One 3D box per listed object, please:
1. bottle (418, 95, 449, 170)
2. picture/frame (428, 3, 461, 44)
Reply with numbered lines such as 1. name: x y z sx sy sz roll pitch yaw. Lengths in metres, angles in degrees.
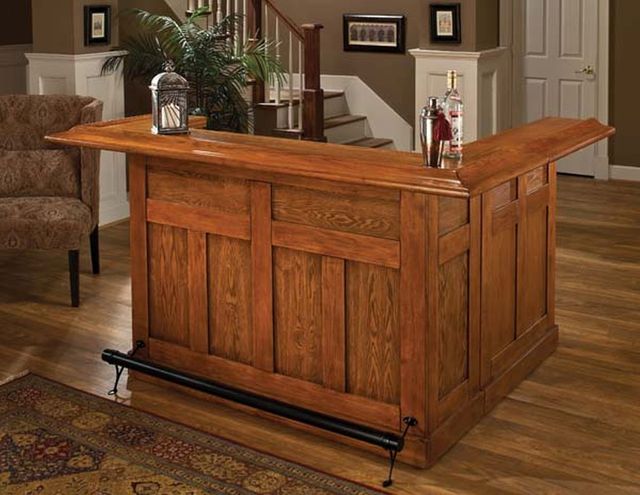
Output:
1. bottle: 0.425 -0.425 2.015 0.113 0.229 0.207 3 18 10
2. picture/frame: 1.274 -2.272 5.619 0.337 0.390 0.117 14 23 36
